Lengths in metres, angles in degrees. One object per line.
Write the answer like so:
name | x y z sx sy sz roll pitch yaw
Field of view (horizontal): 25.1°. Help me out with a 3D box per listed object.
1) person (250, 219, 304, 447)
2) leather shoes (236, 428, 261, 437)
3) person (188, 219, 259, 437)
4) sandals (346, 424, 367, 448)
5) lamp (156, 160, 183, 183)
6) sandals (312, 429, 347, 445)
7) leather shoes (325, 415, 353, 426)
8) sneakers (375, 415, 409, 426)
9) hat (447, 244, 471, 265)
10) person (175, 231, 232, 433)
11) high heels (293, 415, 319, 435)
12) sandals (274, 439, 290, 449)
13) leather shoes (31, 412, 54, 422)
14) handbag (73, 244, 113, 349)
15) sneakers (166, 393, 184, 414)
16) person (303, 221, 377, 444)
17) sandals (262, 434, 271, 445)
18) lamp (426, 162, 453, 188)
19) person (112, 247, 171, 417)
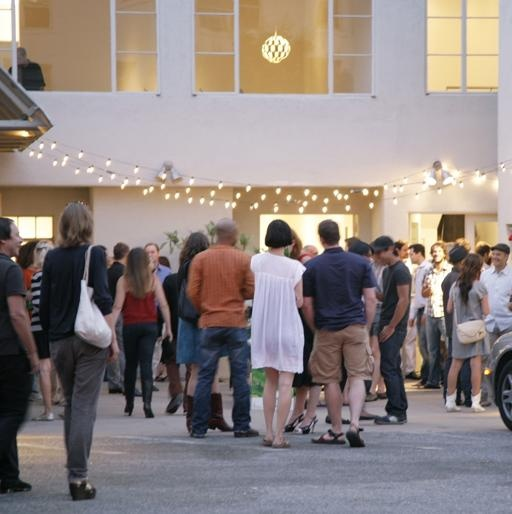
person | 0.157 0.776 10.178 0.500 1.761 0.413 2 2 11
leather shoes | -0.073 1.635 10.670 0.200 0.109 0.079 -2 1 -23
person | -0.307 0.637 10.630 0.582 2.061 0.627 1 14 3
sandals | 0.872 1.574 10.063 0.164 0.178 0.198 2 2 5
lamp | -1.289 -1.258 17.100 0.411 0.332 0.317 2 2 0
sandals | 0.665 1.610 10.359 0.307 0.152 0.123 2 -4 5
leather shoes | 0.833 1.651 11.622 0.326 0.151 0.114 2 -4 -10
sneakers | 1.359 1.635 11.583 0.268 0.133 0.124 3 -3 1
hat | 2.351 -0.065 13.278 0.163 0.096 0.236 -28 15 40
person | -0.486 0.707 11.163 0.486 1.929 0.498 0 11 25
high heels | 0.497 1.620 11.137 0.093 0.107 0.279 0 10 18
sandals | 0.226 1.630 10.054 0.149 0.067 0.056 -1 1 -19
leather shoes | -2.257 1.686 12.196 0.234 0.106 0.098 1 -3 1
handbag | -1.189 0.292 8.457 0.247 0.720 0.236 1 2 -7
sneakers | -0.879 1.601 12.605 0.101 0.299 0.119 11 21 -44
person | 0.730 0.673 10.248 0.640 1.992 0.502 2 3 24
sandals | 0.096 1.618 10.212 0.093 0.112 0.250 1 0 1
lamp | 2.771 -1.233 17.372 0.434 0.433 0.354 2 2 9
person | -1.189 0.797 12.078 0.617 1.804 0.559 1 2 -10
